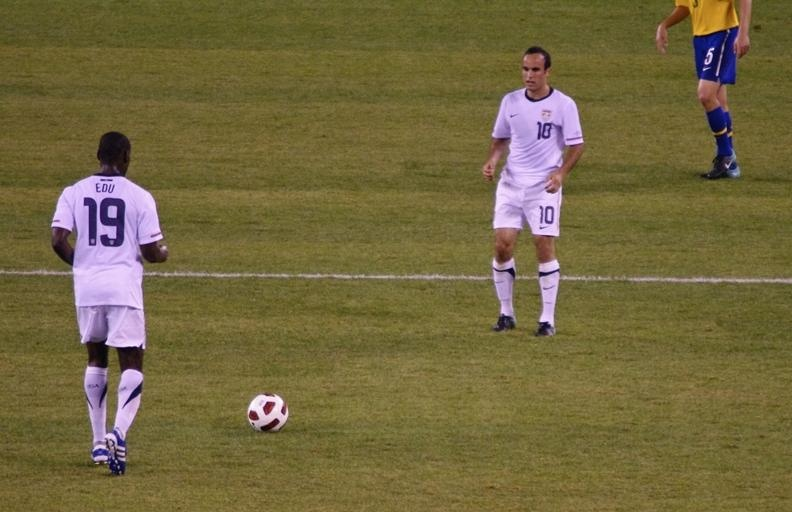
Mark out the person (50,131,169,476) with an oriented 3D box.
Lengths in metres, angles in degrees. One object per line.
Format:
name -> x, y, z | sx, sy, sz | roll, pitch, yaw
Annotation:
person -> -3.104, 0.489, 24.362 | 1.166, 3.696, 0.529 | -1, 4, -8

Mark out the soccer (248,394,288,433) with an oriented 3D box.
soccer -> -1.410, 1.784, 25.235 | 0.454, 0.420, 0.425 | -13, -4, -29

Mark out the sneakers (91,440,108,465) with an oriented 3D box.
sneakers -> -3.215, 2.122, 24.390 | 0.161, 0.124, 0.272 | -1, 3, -9

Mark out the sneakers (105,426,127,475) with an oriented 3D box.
sneakers -> -2.989, 2.072, 24.302 | 0.205, 0.510, 0.261 | -1, 30, 14
